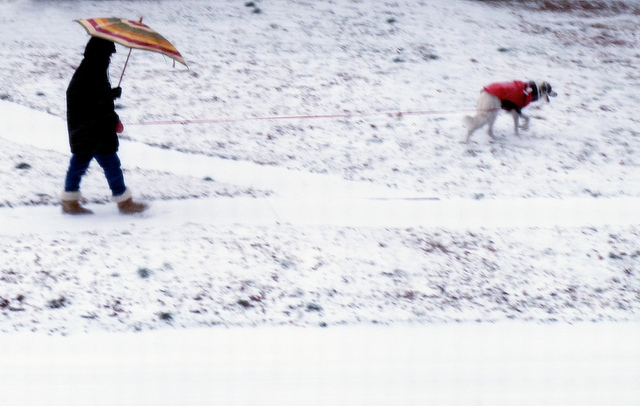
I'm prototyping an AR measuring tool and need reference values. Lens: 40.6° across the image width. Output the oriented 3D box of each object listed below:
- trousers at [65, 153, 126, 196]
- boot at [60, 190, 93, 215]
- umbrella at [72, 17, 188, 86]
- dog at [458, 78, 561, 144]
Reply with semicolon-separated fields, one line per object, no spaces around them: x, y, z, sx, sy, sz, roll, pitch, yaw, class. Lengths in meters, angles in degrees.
-3.236;-0.414;12.336;0.853;0.652;0.157;-1;24;-8;trousers
-3.427;0.003;12.505;0.583;0.371;0.263;-4;22;-22;boot
-2.816;-2.296;12.529;1.324;0.688;1.194;25;17;5;umbrella
3.145;-1.602;14.657;1.996;0.843;0.756;-12;16;-31;dog
